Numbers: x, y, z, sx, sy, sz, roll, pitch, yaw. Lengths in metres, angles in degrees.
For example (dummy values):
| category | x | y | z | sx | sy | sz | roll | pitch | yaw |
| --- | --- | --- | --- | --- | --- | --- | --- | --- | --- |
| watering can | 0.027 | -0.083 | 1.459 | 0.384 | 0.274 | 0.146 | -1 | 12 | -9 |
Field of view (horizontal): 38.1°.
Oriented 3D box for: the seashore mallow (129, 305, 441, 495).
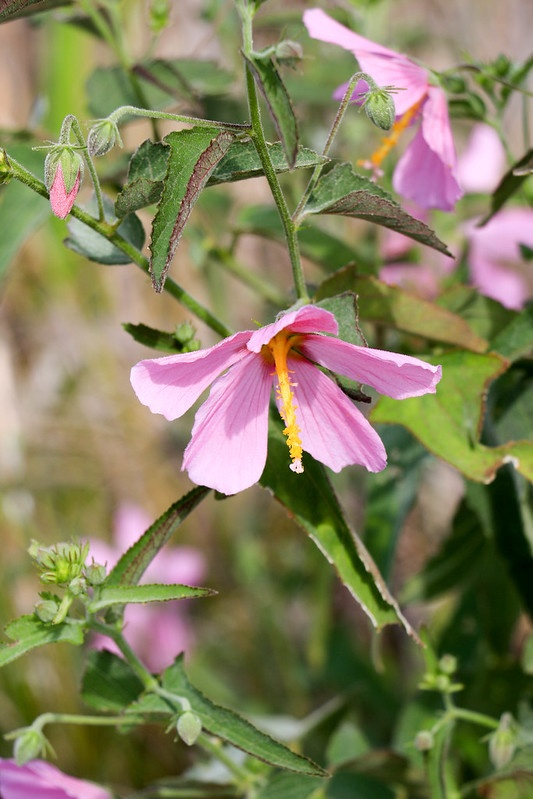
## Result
| category | x | y | z | sx | sy | sz | roll | pitch | yaw |
| --- | --- | --- | --- | --- | --- | --- | --- | --- | --- |
| seashore mallow | 0.021 | -0.025 | 0.579 | 0.217 | 0.222 | 0.081 | -13 | -72 | -44 |
